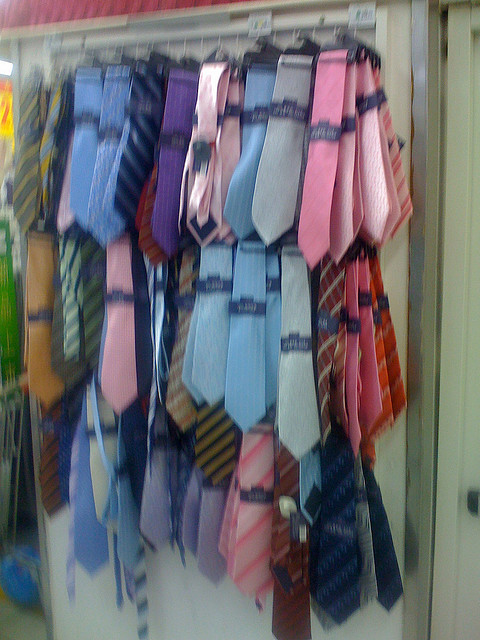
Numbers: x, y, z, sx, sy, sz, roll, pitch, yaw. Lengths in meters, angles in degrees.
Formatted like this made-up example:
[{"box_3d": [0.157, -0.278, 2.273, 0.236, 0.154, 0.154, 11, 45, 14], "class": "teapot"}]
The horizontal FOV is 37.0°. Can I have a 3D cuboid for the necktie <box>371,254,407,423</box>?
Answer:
[{"box_3d": [0.276, 0.025, 1.348, 0.053, 0.361, 0.021, -4, 19, 20], "class": "necktie"}]

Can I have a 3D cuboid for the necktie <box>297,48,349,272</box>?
[{"box_3d": [0.145, -0.288, 1.266, 0.071, 0.362, 0.109, 6, 13, 36], "class": "necktie"}]

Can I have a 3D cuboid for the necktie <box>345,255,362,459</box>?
[{"box_3d": [0.203, 0.066, 1.304, 0.026, 0.339, 0.077, 1, 10, 10], "class": "necktie"}]

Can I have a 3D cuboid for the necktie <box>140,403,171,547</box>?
[{"box_3d": [-0.161, 0.303, 1.382, 0.057, 0.452, 0.051, 11, 37, 7], "class": "necktie"}]

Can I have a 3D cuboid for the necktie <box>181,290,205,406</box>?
[{"box_3d": [-0.092, 0.054, 1.341, 0.042, 0.209, 0.063, -4, 11, -17], "class": "necktie"}]

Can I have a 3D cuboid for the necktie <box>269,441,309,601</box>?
[{"box_3d": [0.084, 0.363, 1.323, 0.044, 0.012, 0.327, 18, 49, -16], "class": "necktie"}]

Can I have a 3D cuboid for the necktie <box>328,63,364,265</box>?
[{"box_3d": [0.190, -0.291, 1.265, 0.010, 0.358, 0.049, -1, 5, -18], "class": "necktie"}]

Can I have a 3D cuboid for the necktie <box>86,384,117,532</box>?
[{"box_3d": [-0.279, 0.303, 1.462, 0.057, 0.344, 0.123, -5, 11, -24], "class": "necktie"}]

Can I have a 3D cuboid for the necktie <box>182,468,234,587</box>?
[{"box_3d": [-0.053, 0.396, 1.375, 0.055, 0.273, 0.030, -9, 22, -21], "class": "necktie"}]

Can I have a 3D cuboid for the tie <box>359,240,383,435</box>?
[{"box_3d": [0.234, 0.040, 1.304, 0.025, 0.324, 0.069, -4, 10, -16], "class": "tie"}]

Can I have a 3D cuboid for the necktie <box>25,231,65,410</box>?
[{"box_3d": [-0.405, -0.001, 1.470, 0.075, 0.395, 0.036, -3, 27, -20], "class": "necktie"}]

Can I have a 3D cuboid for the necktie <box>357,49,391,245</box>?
[{"box_3d": [0.233, -0.307, 1.256, 0.041, 0.322, 0.087, -2, 10, -5], "class": "necktie"}]

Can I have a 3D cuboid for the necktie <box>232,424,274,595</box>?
[{"box_3d": [0.025, 0.353, 1.341, 0.080, 0.290, 0.056, -2, 10, -4], "class": "necktie"}]

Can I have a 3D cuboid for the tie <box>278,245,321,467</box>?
[{"box_3d": [0.106, 0.055, 1.296, 0.071, 0.344, 0.115, -1, 11, 4], "class": "tie"}]

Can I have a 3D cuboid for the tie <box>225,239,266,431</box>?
[{"box_3d": [0.009, 0.024, 1.308, 0.073, 0.315, 0.083, -1, 10, 1], "class": "tie"}]

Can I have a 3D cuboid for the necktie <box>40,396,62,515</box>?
[{"box_3d": [-0.418, 0.286, 1.522, 0.044, 0.025, 0.250, 18, 48, -42], "class": "necktie"}]

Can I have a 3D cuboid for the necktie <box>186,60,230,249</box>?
[{"box_3d": [-0.065, -0.297, 1.316, 0.048, 0.398, 0.037, -4, -23, 13], "class": "necktie"}]

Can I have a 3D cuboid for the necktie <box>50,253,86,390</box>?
[{"box_3d": [-0.349, 0.009, 1.427, 0.082, 0.249, 0.052, 6, 12, 33], "class": "necktie"}]

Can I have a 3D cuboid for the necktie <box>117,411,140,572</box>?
[{"box_3d": [-0.226, 0.327, 1.393, 0.033, 0.373, 0.020, -2, 18, -4], "class": "necktie"}]

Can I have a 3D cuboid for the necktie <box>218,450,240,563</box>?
[{"box_3d": [-0.017, 0.341, 1.347, 0.037, 0.267, 0.017, -1, 30, -3], "class": "necktie"}]

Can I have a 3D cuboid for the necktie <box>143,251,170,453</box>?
[{"box_3d": [-0.159, 0.011, 1.377, 0.026, 0.482, 0.051, 2, -3, -22], "class": "necktie"}]

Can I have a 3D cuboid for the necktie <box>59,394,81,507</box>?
[{"box_3d": [-0.341, 0.277, 1.476, 0.030, 0.278, 0.014, 0, 0, 17], "class": "necktie"}]

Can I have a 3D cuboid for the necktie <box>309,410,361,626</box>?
[{"box_3d": [0.169, 0.390, 1.327, 0.076, 0.036, 0.461, -18, 50, 32], "class": "necktie"}]

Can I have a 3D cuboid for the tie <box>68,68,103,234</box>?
[{"box_3d": [-0.303, -0.342, 1.394, 0.045, 0.334, 0.022, -13, 45, -32], "class": "tie"}]

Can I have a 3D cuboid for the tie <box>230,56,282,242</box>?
[{"box_3d": [0.025, -0.318, 1.305, 0.084, 0.312, 0.086, 0, 10, 9], "class": "tie"}]

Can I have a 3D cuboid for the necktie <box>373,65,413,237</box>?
[{"box_3d": [0.273, -0.313, 1.295, 0.017, 0.437, 0.136, -4, 8, 20], "class": "necktie"}]

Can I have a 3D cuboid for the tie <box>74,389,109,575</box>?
[{"box_3d": [-0.314, 0.313, 1.468, 0.037, 0.388, 0.010, 0, -6, -21], "class": "tie"}]

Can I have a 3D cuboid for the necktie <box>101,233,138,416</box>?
[{"box_3d": [-0.238, 0.005, 1.384, 0.071, 0.329, 0.056, -4, 10, -17], "class": "necktie"}]

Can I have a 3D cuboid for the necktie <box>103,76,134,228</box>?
[{"box_3d": [-0.225, -0.308, 1.329, 0.067, 0.262, 0.043, -5, 10, -19], "class": "necktie"}]
